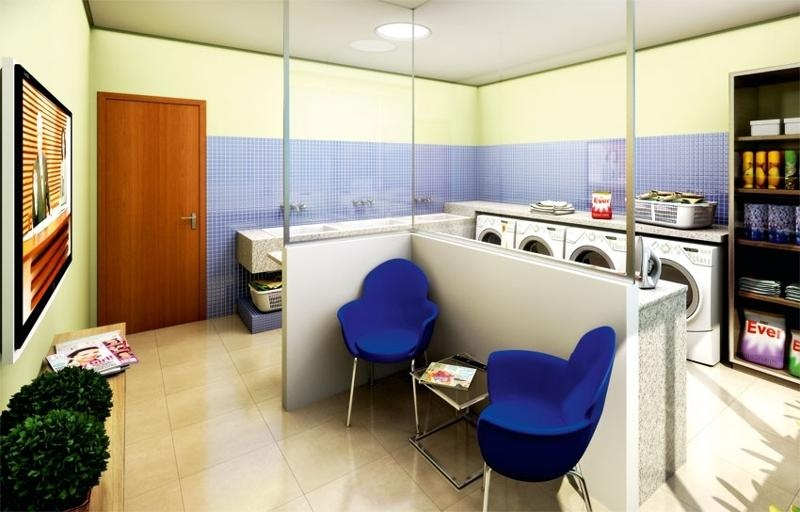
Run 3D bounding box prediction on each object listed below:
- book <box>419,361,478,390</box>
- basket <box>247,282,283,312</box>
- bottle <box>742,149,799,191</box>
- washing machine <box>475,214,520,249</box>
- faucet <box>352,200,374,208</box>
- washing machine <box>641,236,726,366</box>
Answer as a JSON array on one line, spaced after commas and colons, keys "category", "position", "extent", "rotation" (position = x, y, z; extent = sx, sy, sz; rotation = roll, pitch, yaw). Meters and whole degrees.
[{"category": "book", "position": [0.336, 0.840, 3.563], "extent": [0.351, 0.060, 0.297], "rotation": [4, 13, 21]}, {"category": "basket", "position": [-1.443, 0.438, 5.451], "extent": [0.360, 0.300, 0.255], "rotation": [-2, 12, -4]}, {"category": "bottle", "position": [3.158, -0.733, 4.302], "extent": [0.371, 0.343, 0.178], "rotation": [2, 4, 44]}, {"category": "washing machine", "position": [0.733, -0.199, 3.911], "extent": [0.239, 0.332, 0.334], "rotation": [-1, 3, -36]}, {"category": "faucet", "position": [-0.312, -0.445, 4.295], "extent": [0.186, 0.075, 0.026], "rotation": [-7, 14, -28]}, {"category": "washing machine", "position": [2.643, 0.411, 4.657], "extent": [0.617, 1.109, 0.264], "rotation": [7, 14, 33]}]
